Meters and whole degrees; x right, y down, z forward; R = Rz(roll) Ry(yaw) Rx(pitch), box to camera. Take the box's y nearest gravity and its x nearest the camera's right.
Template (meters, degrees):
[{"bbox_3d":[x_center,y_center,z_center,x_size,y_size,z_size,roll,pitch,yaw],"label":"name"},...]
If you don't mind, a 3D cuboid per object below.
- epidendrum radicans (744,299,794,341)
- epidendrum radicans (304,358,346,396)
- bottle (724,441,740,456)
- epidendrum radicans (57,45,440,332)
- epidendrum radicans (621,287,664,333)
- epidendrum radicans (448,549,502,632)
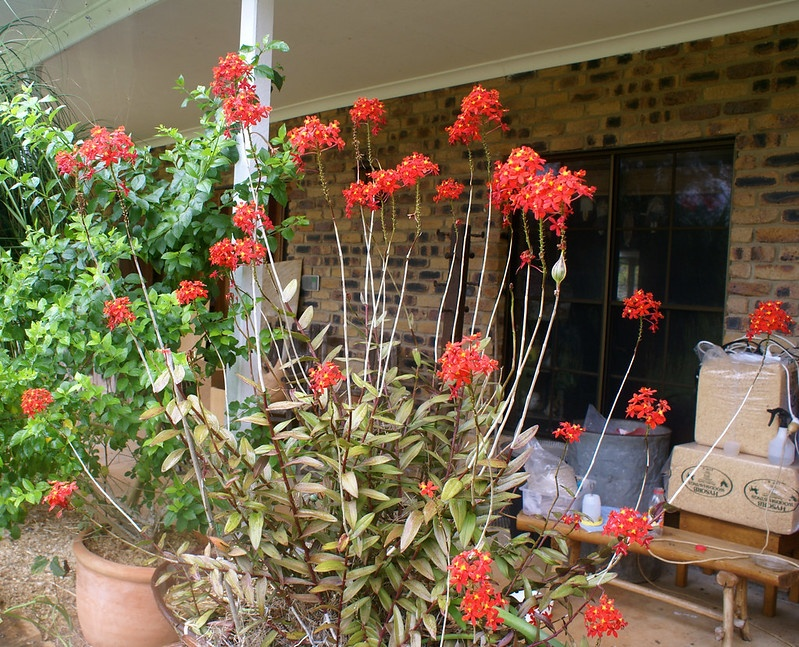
[{"bbox_3d":[1.475,-0.016,2.361,0.159,0.147,0.161,0,11,12],"label":"epidendrum radicans"},{"bbox_3d":[-0.175,0.122,1.364,0.078,0.077,0.047,1,-13,18],"label":"epidendrum radicans"},{"bbox_3d":[1.343,0.507,2.409,0.056,0.047,0.055,-3,7,-3],"label":"bottle"},{"bbox_3d":[-0.582,-0.647,2.666,1.219,0.884,1.145,29,45,30],"label":"epidendrum radicans"},{"bbox_3d":[1.041,-0.061,2.530,0.166,0.175,0.173,4,38,1],"label":"epidendrum radicans"},{"bbox_3d":[0.133,0.470,1.055,0.102,0.136,0.088,-2,15,-19],"label":"epidendrum radicans"}]
